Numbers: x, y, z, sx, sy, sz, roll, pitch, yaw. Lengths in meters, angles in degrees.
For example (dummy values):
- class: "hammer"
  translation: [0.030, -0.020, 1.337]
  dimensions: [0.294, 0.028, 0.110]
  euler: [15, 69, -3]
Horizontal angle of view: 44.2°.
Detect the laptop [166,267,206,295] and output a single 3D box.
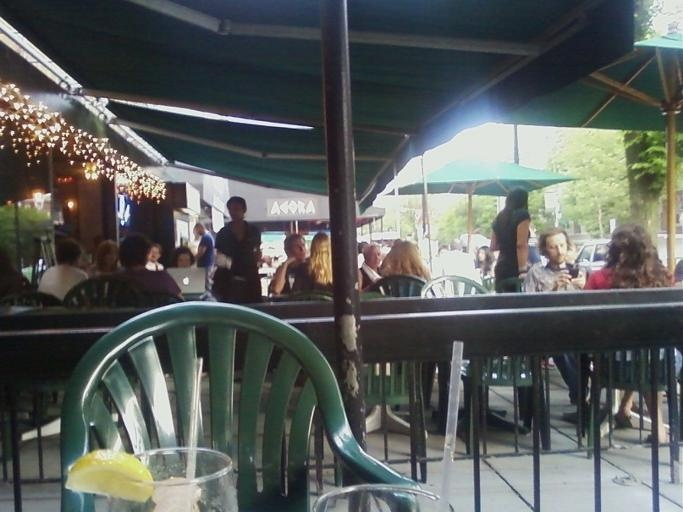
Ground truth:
- class: "laptop"
  translation: [-1.611, 0.319, 8.921]
  dimensions: [0.319, 0.278, 0.253]
  euler: [0, -5, -4]
